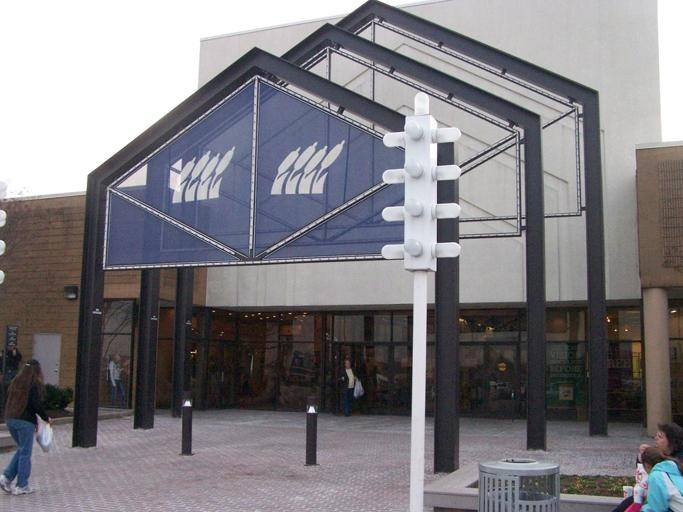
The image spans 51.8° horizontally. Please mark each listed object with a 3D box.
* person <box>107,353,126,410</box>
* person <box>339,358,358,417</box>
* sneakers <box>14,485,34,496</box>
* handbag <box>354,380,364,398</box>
[{"bbox_3d":[-7.679,4.334,24.471,0.719,1.815,0.177,-4,-9,21],"label":"person"},{"bbox_3d":[0.376,4.749,25.690,0.577,2.131,1.289,-1,-9,0],"label":"person"},{"bbox_3d":[-5.174,3.886,11.618,0.346,0.160,0.127,-1,6,-18],"label":"sneakers"},{"bbox_3d":[0.687,4.833,25.385,0.365,0.745,0.668,-3,-6,6],"label":"handbag"}]
